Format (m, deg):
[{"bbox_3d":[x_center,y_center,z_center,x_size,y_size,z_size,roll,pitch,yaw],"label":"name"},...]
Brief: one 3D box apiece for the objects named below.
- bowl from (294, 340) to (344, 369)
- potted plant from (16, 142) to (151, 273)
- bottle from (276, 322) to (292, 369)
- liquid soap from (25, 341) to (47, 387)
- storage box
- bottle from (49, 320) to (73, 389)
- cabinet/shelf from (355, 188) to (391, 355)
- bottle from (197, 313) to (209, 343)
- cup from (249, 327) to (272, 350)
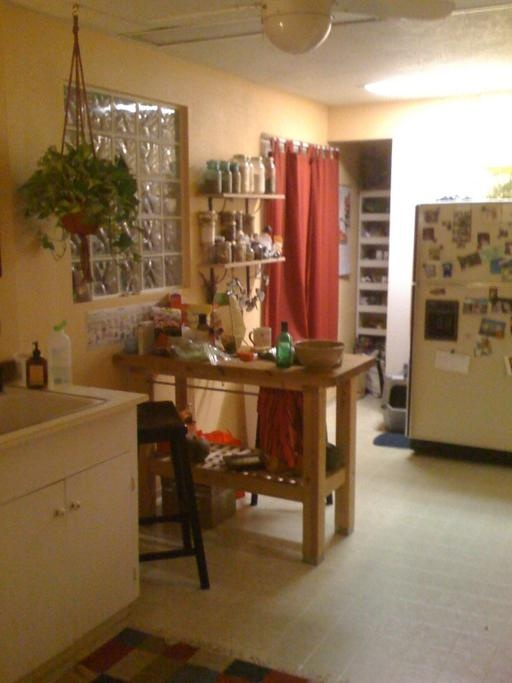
[{"bbox_3d":[0.257,0.061,2.391,0.146,0.076,0.149,0,2,0],"label":"bowl"},{"bbox_3d":[-0.651,-0.507,2.065,0.392,0.440,0.357,16,28,36],"label":"potted plant"},{"bbox_3d":[0.128,0.011,2.507,0.086,0.194,0.195,0,4,3],"label":"bottle"},{"bbox_3d":[-0.813,0.086,2.067,0.078,0.164,0.153,-2,5,-23],"label":"liquid soap"},{"bbox_3d":[-0.276,0.811,2.855,0.251,0.163,0.253,3,6,38],"label":"storage box"},{"bbox_3d":[-0.734,0.044,2.083,0.080,0.233,0.101,-2,5,-22],"label":"bottle"},{"bbox_3d":[1.182,-0.711,5.684,0.317,1.641,0.330,1,4,11],"label":"cabinet/shelf"},{"bbox_3d":[-0.263,-0.069,2.797,0.056,0.136,0.098,0,4,-5],"label":"bottle"},{"bbox_3d":[0.007,-0.009,2.787,0.123,0.114,0.080,-2,1,14],"label":"cup"}]
